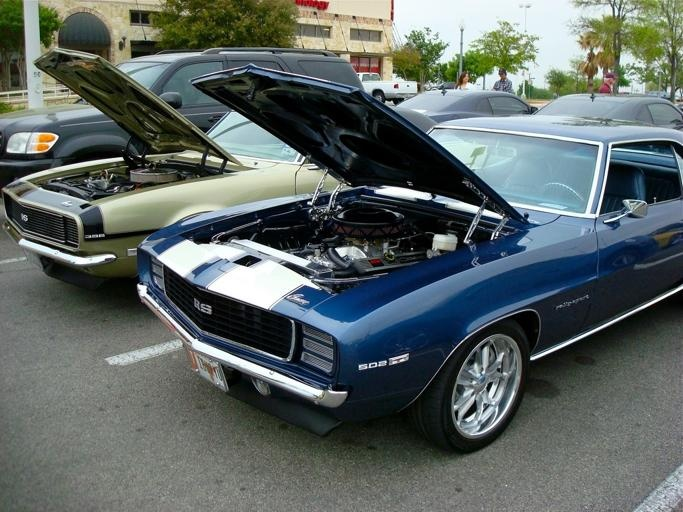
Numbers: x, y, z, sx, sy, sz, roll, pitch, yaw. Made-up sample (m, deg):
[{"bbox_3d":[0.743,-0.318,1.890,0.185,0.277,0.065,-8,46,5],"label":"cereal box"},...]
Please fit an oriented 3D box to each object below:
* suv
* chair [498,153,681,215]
[{"bbox_3d":[-2.439,-2.326,8.312,5.497,1.444,2.310,-11,24,-29],"label":"suv"},{"bbox_3d":[2.124,-0.613,4.150,1.274,0.323,0.831,-10,18,-26],"label":"chair"}]
